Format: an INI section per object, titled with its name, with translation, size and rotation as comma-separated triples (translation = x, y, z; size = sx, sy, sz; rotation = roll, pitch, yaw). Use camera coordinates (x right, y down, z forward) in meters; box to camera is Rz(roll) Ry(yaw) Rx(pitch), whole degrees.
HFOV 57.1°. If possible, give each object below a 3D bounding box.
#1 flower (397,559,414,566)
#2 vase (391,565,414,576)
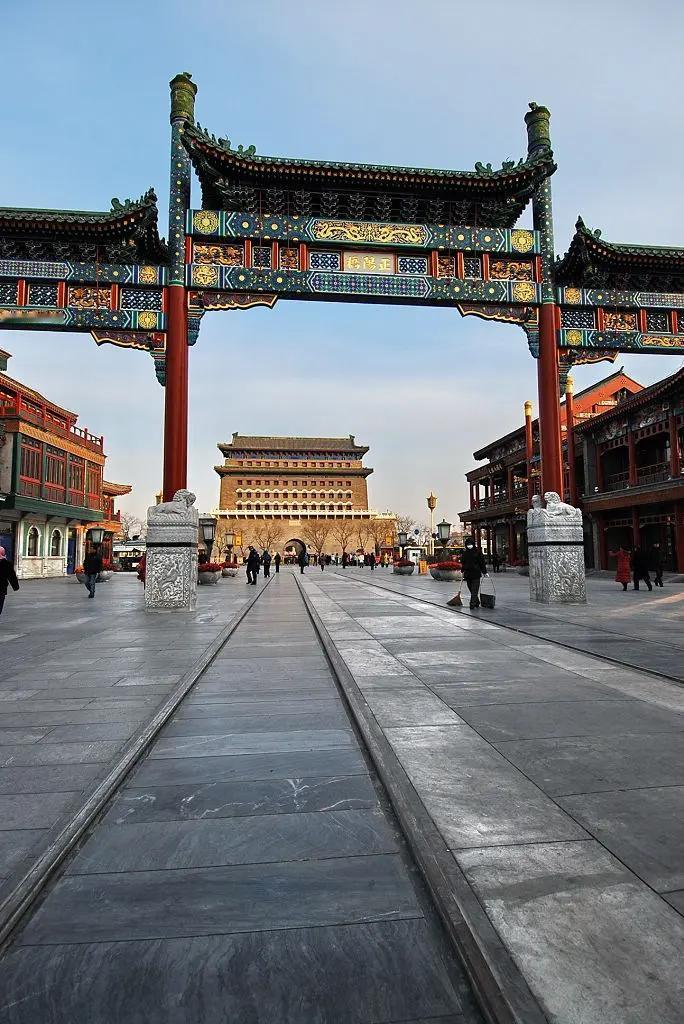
[flower]
translation = 3.441, 2.869, 34.979
size = 0.667, 0.239, 0.652
rotation = 0, 0, 34
[vase]
translation = 3.398, 3.272, 35.328
size = 0.661, 0.492, 1.022
rotation = 3, -11, -33
